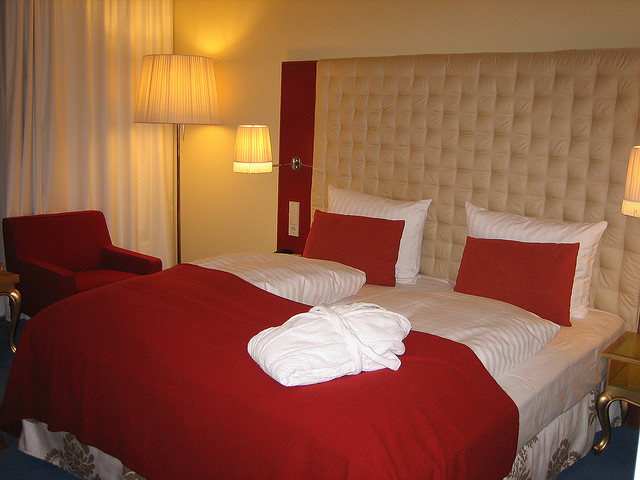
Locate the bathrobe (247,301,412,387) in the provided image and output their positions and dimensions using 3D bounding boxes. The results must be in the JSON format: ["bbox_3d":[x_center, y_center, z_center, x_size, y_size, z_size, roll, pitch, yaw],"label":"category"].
[{"bbox_3d":[0.067,0.480,2.266,0.770,0.254,0.332,1,11,-16],"label":"bathrobe"}]
